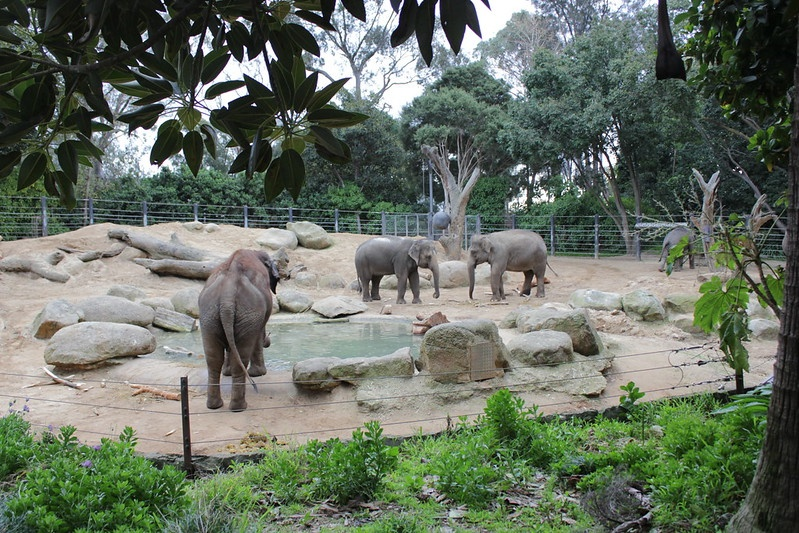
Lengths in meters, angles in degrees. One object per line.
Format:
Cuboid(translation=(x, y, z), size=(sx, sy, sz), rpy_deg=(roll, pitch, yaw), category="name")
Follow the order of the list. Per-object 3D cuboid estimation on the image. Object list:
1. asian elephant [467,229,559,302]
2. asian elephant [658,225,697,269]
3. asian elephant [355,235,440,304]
Cuboid(translation=(2.848, -0.036, 15.822), size=(2.239, 1.810, 0.887), rpy_deg=(-2, 8, -8), category="asian elephant")
Cuboid(translation=(8.865, -0.646, 19.655), size=(0.888, 1.335, 2.215), rpy_deg=(6, 10, 38), category="asian elephant")
Cuboid(translation=(-0.052, 0.071, 15.578), size=(2.292, 1.648, 1.005), rpy_deg=(1, 5, 19), category="asian elephant")
